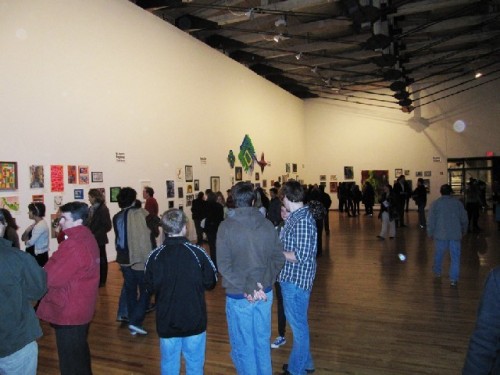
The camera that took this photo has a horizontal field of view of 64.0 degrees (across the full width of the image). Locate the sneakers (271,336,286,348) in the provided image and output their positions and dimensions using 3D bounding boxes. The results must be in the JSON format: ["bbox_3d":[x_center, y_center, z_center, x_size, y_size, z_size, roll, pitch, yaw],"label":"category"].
[{"bbox_3d":[0.366,2.066,5.288,0.080,0.102,0.226,-12,-18,39],"label":"sneakers"}]

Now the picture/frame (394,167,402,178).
[{"bbox_3d":[7.175,-0.713,19.393,0.453,0.623,0.036,1,-6,13],"label":"picture/frame"}]

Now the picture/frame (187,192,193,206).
[{"bbox_3d":[-1.790,0.366,11.669,0.046,0.415,0.359,4,4,19],"label":"picture/frame"}]

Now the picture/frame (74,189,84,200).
[{"bbox_3d":[-3.678,0.154,8.538,0.025,0.174,0.182,-10,1,33],"label":"picture/frame"}]

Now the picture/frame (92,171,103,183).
[{"bbox_3d":[-3.437,-0.226,8.915,0.008,0.181,0.228,-8,-4,25],"label":"picture/frame"}]

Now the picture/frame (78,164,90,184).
[{"bbox_3d":[-3.629,-0.279,8.641,0.035,0.577,0.370,-4,-3,30],"label":"picture/frame"}]

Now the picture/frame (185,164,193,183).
[{"bbox_3d":[-1.840,-0.397,11.769,0.024,0.549,0.495,-3,-1,19],"label":"picture/frame"}]
